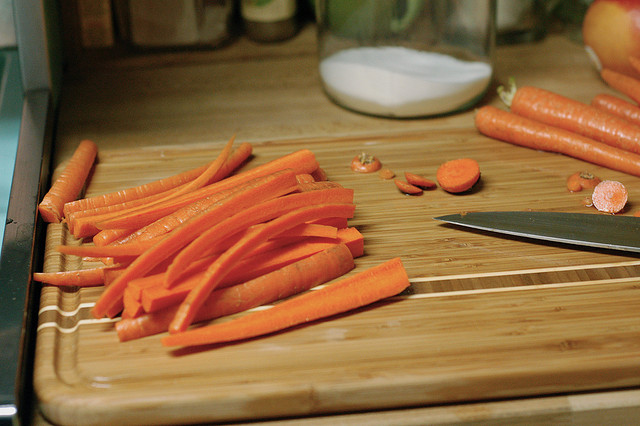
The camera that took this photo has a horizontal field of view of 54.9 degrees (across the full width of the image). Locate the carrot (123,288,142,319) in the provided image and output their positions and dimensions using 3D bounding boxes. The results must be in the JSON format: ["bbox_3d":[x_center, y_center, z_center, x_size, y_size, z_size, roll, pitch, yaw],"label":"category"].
[{"bbox_3d":[-0.331,0.159,1.081,0.045,0.041,0.013,6,21,44],"label":"carrot"}]

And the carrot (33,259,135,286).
[{"bbox_3d":[-0.436,0.113,1.149,0.184,0.023,0.028,-8,25,-12],"label":"carrot"}]

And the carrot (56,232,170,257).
[{"bbox_3d":[-0.379,0.065,1.121,0.268,0.032,0.033,-7,7,20],"label":"carrot"}]

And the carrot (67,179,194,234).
[{"bbox_3d":[-0.384,-0.009,1.249,0.264,0.050,0.033,-16,79,-20],"label":"carrot"}]

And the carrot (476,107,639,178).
[{"bbox_3d":[0.562,-0.162,1.460,0.400,0.054,0.053,19,70,18],"label":"carrot"}]

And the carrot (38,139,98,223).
[{"bbox_3d":[-0.551,-0.064,1.343,0.062,0.056,0.234,-3,38,22],"label":"carrot"}]

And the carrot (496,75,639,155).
[{"bbox_3d":[0.618,-0.237,1.525,0.484,0.075,0.076,22,57,23],"label":"carrot"}]

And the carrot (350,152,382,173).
[{"bbox_3d":[0.105,-0.113,1.430,0.061,0.025,0.053,0,27,-1],"label":"carrot"}]

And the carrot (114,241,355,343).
[{"bbox_3d":[-0.174,0.124,1.140,0.481,0.058,0.088,-8,36,-13],"label":"carrot"}]

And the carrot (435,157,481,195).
[{"bbox_3d":[0.307,-0.101,1.375,0.097,0.085,0.022,3,48,-9],"label":"carrot"}]

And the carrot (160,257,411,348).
[{"bbox_3d":[-0.071,0.166,1.103,0.362,0.072,0.043,-16,35,-11],"label":"carrot"}]

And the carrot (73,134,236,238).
[{"bbox_3d":[-0.311,-0.055,1.297,0.400,0.070,0.126,-31,73,-27],"label":"carrot"}]

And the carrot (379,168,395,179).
[{"bbox_3d":[0.153,-0.089,1.410,0.029,0.014,0.026,-14,31,-22],"label":"carrot"}]

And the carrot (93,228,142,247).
[{"bbox_3d":[-0.403,0.042,1.236,0.108,0.024,0.026,-12,35,-12],"label":"carrot"}]
